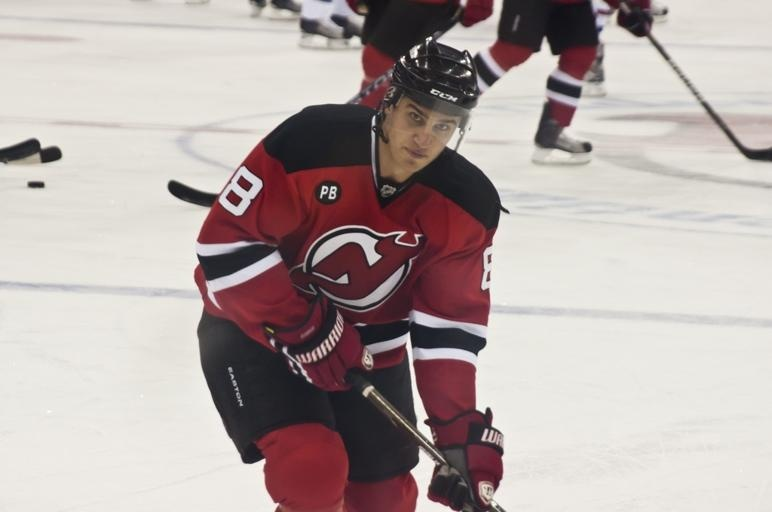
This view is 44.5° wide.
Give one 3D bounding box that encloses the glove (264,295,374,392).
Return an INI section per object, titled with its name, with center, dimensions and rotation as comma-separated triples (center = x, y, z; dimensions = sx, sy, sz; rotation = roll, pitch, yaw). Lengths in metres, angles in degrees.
[glove]
center = -0.232, 0.291, 3.087
dimensions = 0.321, 0.127, 0.263
rotation = 44, 71, -5
